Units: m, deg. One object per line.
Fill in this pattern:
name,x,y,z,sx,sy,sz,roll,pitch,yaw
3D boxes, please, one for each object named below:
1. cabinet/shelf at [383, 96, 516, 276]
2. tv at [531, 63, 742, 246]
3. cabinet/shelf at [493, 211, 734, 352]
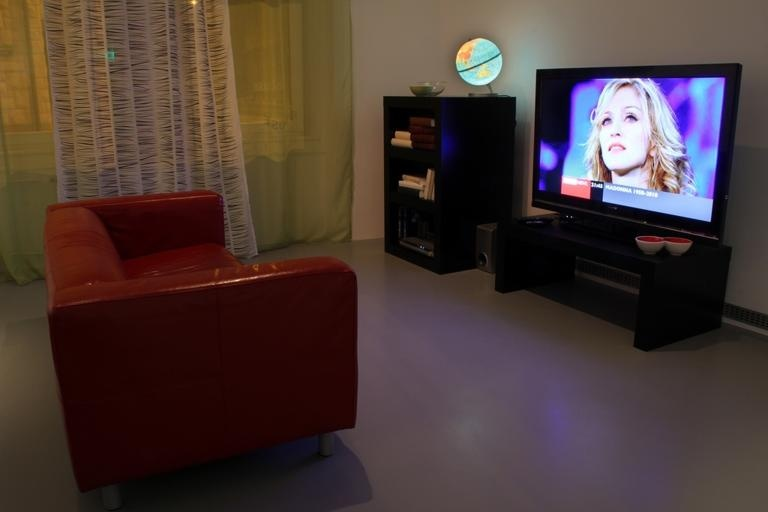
cabinet/shelf,0.479,-0.661,4.719,0.590,1.487,1.158,-7,17,-26
tv,1.626,-0.635,3.578,0.121,1.130,1.754,-7,15,-27
cabinet/shelf,1.594,0.087,3.659,0.853,0.606,1.377,-5,15,-27
